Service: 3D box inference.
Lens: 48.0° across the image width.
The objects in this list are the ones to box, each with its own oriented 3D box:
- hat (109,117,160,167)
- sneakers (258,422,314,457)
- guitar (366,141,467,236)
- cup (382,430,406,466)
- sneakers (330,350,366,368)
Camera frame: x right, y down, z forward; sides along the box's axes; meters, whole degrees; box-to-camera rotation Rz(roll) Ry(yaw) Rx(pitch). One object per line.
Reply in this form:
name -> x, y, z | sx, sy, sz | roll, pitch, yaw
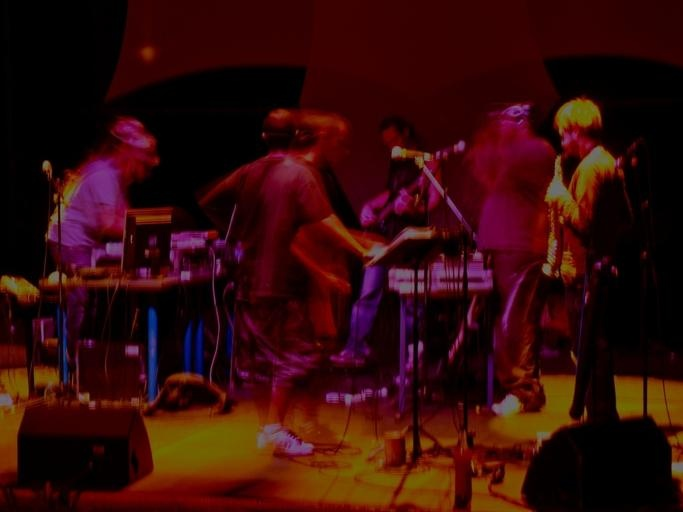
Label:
hat -> -1.913, -1.061, 7.231 | 0.535, 0.344, 0.217 | 46, -1, 6
sneakers -> -0.428, 1.376, 5.783 | 0.441, 0.245, 0.181 | 6, -1, 6
guitar -> 0.655, -0.575, 6.444 | 0.837, 0.800, 2.634 | 1, 10, 7
cup -> 0.382, 1.368, 5.499 | 0.160, 0.223, 0.199 | 0, 9, 3
sneakers -> 0.064, 0.944, 7.041 | 0.306, 0.157, 0.146 | 3, -5, -2
